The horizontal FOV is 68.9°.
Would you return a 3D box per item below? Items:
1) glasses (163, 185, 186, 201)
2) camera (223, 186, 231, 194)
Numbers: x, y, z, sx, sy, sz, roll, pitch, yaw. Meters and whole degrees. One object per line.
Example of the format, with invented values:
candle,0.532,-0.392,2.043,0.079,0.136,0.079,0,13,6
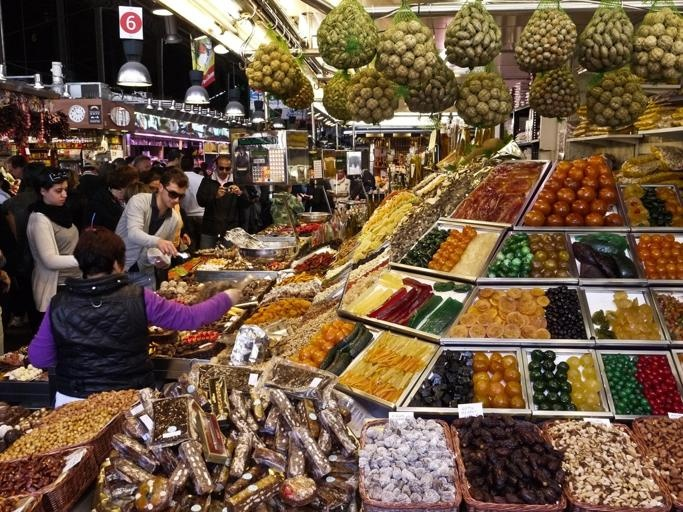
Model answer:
glasses,-1.512,-0.574,4.519,0.120,0.039,0.122,11,26,-45
camera,-1.672,-1.012,7.377,0.119,0.049,0.167,0,12,-10
